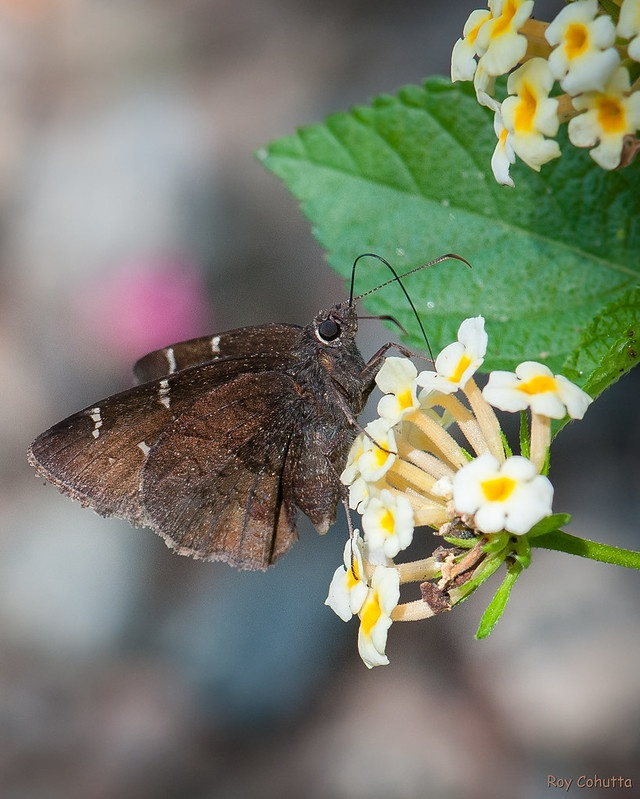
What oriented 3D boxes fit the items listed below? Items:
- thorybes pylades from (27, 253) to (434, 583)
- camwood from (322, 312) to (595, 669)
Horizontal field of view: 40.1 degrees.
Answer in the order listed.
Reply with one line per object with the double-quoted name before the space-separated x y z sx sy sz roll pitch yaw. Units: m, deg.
"thorybes pylades" -0.166 0.079 2.038 0.736 0.675 0.569 -8 47 -1
"camwood" 0.164 0.088 1.149 0.391 0.464 0.353 4 12 1
